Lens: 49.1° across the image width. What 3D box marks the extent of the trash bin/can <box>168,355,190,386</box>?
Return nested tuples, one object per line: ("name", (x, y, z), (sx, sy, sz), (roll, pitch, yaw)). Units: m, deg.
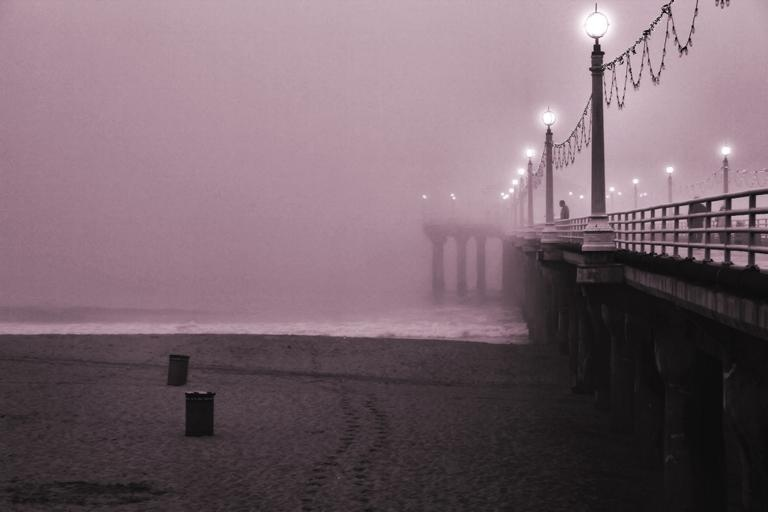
("trash bin/can", (-8.027, 4.386, 32.594), (0.767, 1.088, 1.133), (0, 4, -17))
